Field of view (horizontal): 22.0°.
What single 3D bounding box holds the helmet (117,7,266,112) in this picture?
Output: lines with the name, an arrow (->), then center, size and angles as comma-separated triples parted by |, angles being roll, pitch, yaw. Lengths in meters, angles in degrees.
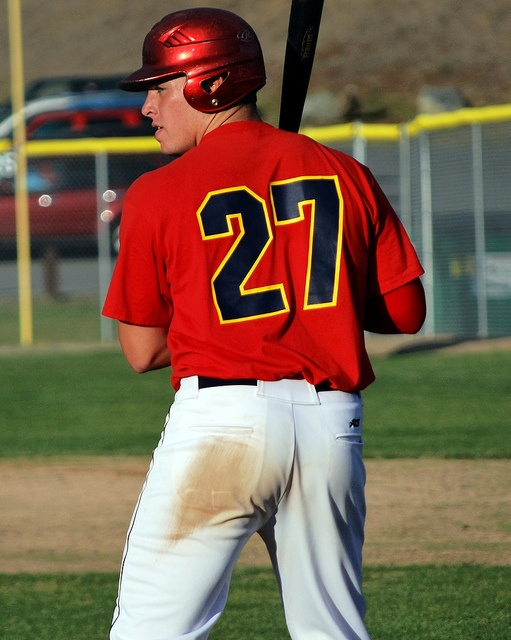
helmet -> -0.192, -0.734, 3.714 | 0.370, 0.252, 0.266 | -11, 15, -6

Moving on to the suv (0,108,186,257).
suv -> -2.026, -1.364, 12.892 | 2.574, 1.293, 1.470 | 0, 7, -1

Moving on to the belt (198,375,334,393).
belt -> 0.024, 0.178, 3.526 | 0.362, 0.048, 0.053 | -1, 1, -5
